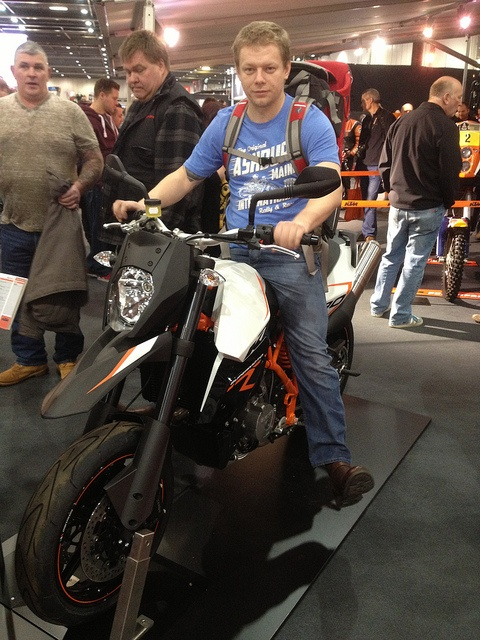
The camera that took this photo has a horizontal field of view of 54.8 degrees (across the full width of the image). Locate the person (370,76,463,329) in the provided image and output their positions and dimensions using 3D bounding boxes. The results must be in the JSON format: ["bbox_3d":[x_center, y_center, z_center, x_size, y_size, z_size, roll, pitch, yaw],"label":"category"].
[{"bbox_3d":[1.771,-1.164,4.776,0.538,2.440,0.872,-1,13,-12],"label":"person"}]

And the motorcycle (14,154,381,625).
[{"bbox_3d":[-0.347,0.124,2.140,0.892,1.244,1.967,6,11,31],"label":"motorcycle"}]

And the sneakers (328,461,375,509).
[{"bbox_3d":[0.455,0.700,1.975,0.120,0.260,0.126,-7,51,-17],"label":"sneakers"}]
